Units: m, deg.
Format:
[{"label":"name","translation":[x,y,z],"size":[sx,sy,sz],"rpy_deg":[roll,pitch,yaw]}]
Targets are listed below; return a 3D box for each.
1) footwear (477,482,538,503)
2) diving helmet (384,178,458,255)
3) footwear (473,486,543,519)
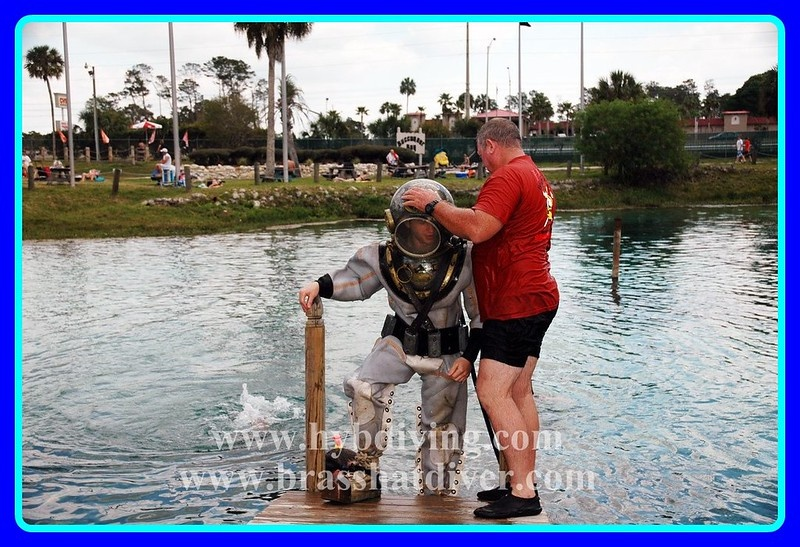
[{"label":"footwear","translation":[1.448,3.050,13.426],"size":[0.919,0.343,0.303],"rpy_deg":[2,-1,-7]},{"label":"diving helmet","translation":[0.293,-0.772,13.823],"size":[1.013,1.088,1.031],"rpy_deg":[-3,2,36]},{"label":"footwear","translation":[1.460,3.090,13.025],"size":[1.014,0.384,0.353],"rpy_deg":[0,-8,-3]}]
